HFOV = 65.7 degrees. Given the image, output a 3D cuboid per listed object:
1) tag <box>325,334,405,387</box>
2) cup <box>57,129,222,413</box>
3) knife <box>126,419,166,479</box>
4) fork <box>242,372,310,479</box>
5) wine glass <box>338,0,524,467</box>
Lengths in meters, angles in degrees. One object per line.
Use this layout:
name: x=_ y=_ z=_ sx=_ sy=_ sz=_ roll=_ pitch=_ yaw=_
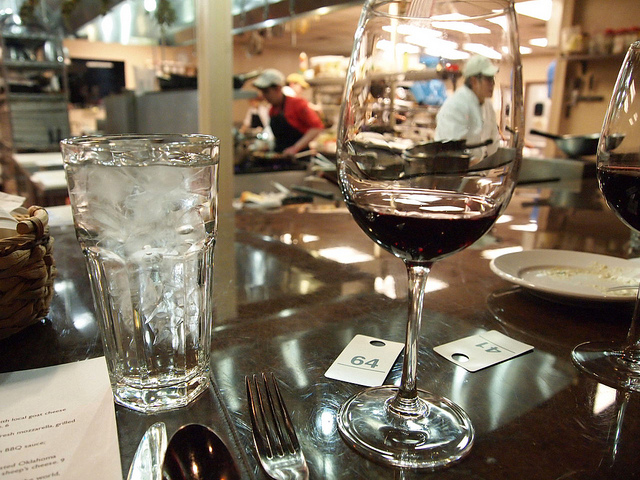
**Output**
tag: x=0.055 y=0.138 z=0.580 sx=0.071 sy=0.001 sz=0.113 roll=5 pitch=17 yaw=19
cup: x=-0.178 y=0.028 z=0.494 sx=0.129 sy=0.252 sz=0.115 roll=6 pitch=20 yaw=16
knife: x=-0.152 y=0.185 z=0.433 sx=0.017 sy=0.008 sz=0.056 roll=4 pitch=15 yaw=-12
fork: x=-0.041 y=0.175 z=0.489 sx=0.022 sy=0.018 sz=0.129 roll=-4 pitch=24 yaw=-17
wine glass: x=0.084 y=-0.012 z=0.444 sx=0.158 sy=0.384 sz=0.171 roll=8 pitch=21 yaw=21
